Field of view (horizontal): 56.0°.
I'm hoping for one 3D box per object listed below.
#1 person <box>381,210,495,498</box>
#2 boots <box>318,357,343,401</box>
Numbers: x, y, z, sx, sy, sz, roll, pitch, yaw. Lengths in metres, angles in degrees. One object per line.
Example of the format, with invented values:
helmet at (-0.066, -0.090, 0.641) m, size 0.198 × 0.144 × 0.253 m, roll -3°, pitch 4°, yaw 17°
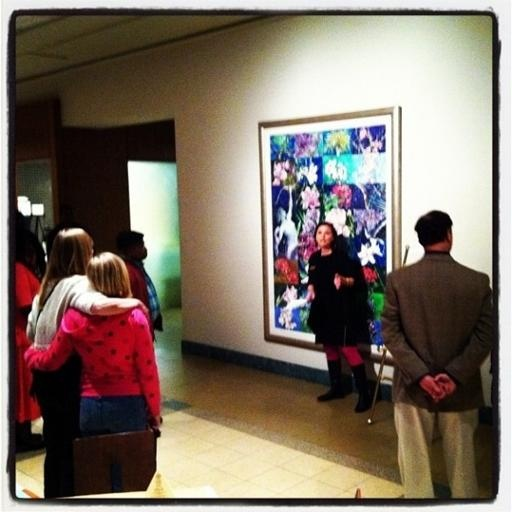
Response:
person at (0.656, 0.379, 1.780) m, size 0.384 × 1.062 × 0.227 m, roll 1°, pitch 5°, yaw 13°
boots at (0.316, 0.513, 2.042) m, size 0.121 × 0.207 × 0.061 m, roll -3°, pitch 13°, yaw -3°
